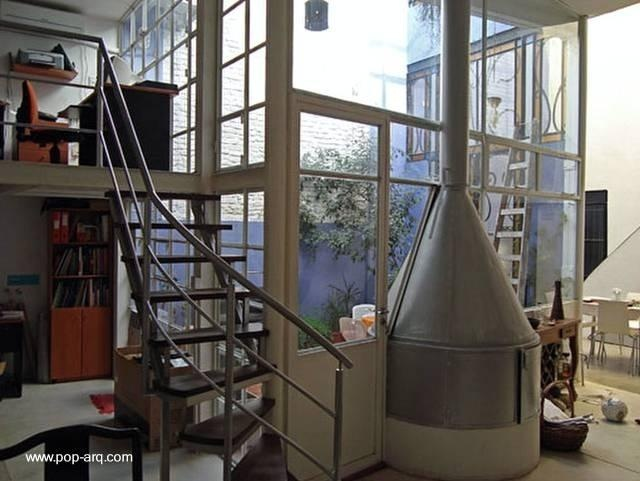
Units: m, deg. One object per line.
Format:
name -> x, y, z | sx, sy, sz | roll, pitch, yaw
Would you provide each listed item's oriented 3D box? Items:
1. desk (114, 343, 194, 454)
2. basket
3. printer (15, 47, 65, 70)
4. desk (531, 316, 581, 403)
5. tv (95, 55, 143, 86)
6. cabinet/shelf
desk -> -1.463, 1.443, 4.784 | 0.644, 0.956, 1.268 | 2, 1, -25
basket -> 2.466, 1.781, 5.508 | 0.440, 0.655, 0.607 | 3, -7, -9
printer -> -3.819, -2.479, 7.299 | 0.594, 0.234, 0.287 | -3, 6, -30
desk -> 2.632, 1.321, 5.959 | 0.429, 0.891, 1.029 | 0, 1, 10
tv -> -2.557, -2.128, 6.766 | 0.188, 0.365, 0.344 | 0, -8, 42
cabinet/shelf -> -3.389, 0.743, 7.542 | 0.839, 2.346, 0.545 | 0, 6, -32
